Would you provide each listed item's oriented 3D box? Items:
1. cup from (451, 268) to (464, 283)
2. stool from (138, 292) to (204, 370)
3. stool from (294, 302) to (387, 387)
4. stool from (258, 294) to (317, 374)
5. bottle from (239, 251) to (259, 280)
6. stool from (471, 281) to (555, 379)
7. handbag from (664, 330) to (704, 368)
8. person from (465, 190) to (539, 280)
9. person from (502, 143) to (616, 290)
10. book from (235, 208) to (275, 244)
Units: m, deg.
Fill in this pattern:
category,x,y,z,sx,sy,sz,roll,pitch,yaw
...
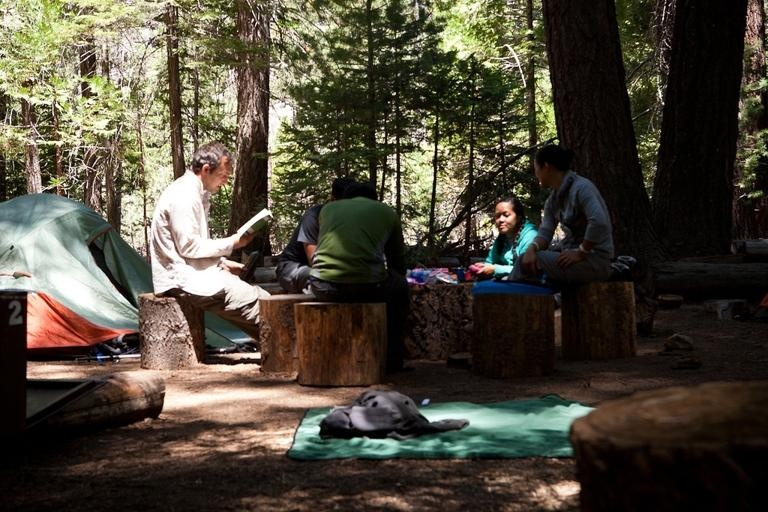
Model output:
category,x,y,z,sx,sy,sz,roll,pitch,yaw
cup,0.951,0.241,8.690,0.175,0.126,0.172,0,-2,0
stool,-2.504,0.883,8.037,0.748,0.873,0.342,-6,9,-19
stool,-0.448,0.832,7.382,1.023,0.902,0.967,-6,12,-22
stool,-1.108,0.935,7.875,0.960,0.751,0.947,-5,-6,-7
bottle,-1.691,0.143,8.543,0.254,0.243,0.906,33,-10,-6
stool,1.225,0.761,7.432,0.964,1.010,0.952,0,-2,-1
handbag,3.204,0.986,7.240,0.282,0.148,0.413,-2,13,3
person,1.545,-0.245,8.490,0.973,0.933,0.606,-5,9,-30
person,1.978,-0.453,7.428,0.971,1.527,0.781,2,10,29
book,-1.429,-0.373,7.731,0.404,0.110,0.409,-41,0,6
